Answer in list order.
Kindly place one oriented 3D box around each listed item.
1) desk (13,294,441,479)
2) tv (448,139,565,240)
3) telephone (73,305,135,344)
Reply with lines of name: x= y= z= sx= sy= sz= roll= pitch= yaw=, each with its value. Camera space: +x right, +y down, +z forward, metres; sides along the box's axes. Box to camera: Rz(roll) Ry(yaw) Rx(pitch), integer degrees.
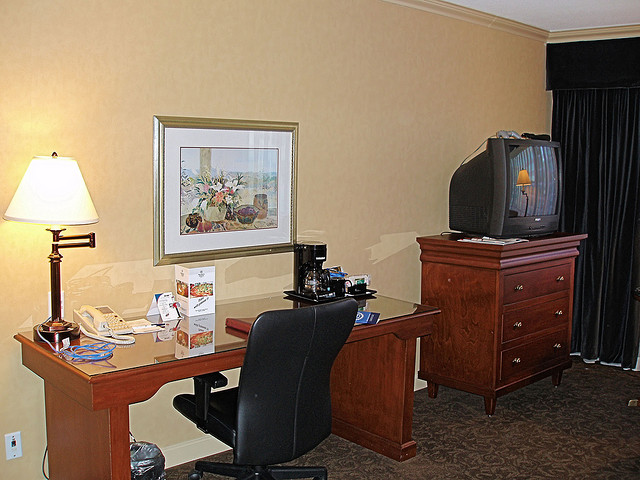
desk: x=-0.399 y=0.935 z=2.737 sx=2.049 sy=1.058 sz=0.692 roll=-5 pitch=11 yaw=-34
tv: x=1.549 y=-0.436 z=4.075 sx=0.838 sy=0.803 sz=0.701 roll=-6 pitch=5 yaw=-35
telephone: x=-1.043 y=0.411 z=2.425 sx=0.292 sy=0.098 sz=0.174 roll=21 pitch=15 yaw=38
